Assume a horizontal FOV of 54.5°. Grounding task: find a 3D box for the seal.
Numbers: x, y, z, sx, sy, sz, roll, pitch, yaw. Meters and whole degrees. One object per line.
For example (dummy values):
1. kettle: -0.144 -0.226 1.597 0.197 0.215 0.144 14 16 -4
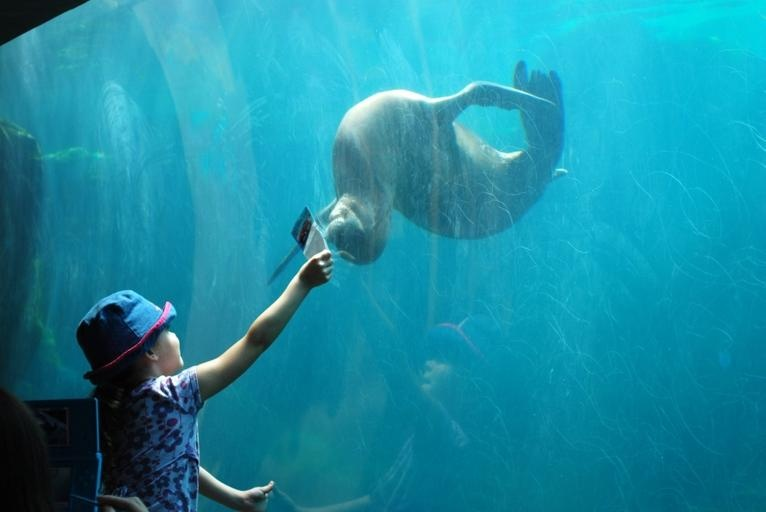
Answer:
1. seal: 0.547 -0.840 6.695 1.873 1.879 0.869 -18 -14 21
